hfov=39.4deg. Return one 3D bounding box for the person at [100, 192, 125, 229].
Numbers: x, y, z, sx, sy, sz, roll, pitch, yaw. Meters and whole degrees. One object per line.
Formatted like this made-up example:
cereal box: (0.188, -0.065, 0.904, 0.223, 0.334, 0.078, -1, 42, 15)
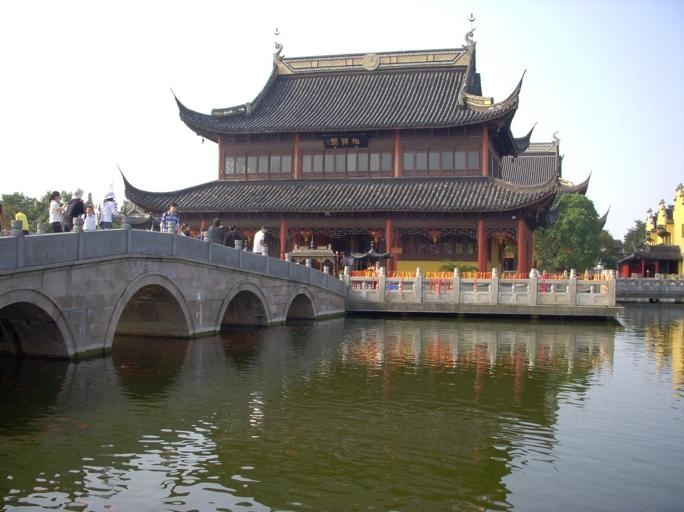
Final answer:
person: (-6.742, -1.157, 27.998, 0.492, 1.407, 0.486, 26, 29, 31)
